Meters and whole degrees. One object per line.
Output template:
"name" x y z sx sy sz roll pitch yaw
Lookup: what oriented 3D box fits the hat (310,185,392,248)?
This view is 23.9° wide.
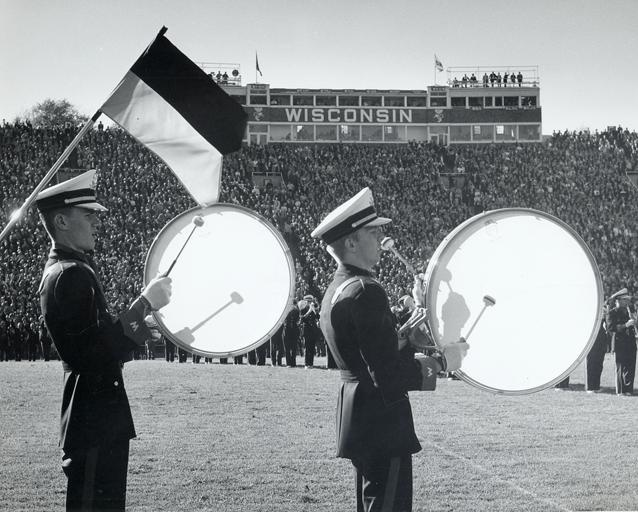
"hat" 0.430 -0.488 23.184 1.046 0.446 0.830 -27 5 -3

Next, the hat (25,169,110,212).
"hat" -3.847 -1.022 23.221 0.818 0.476 0.717 0 1 0

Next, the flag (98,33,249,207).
"flag" -2.196 -2.123 23.793 2.090 2.363 0.179 36 -51 -11
